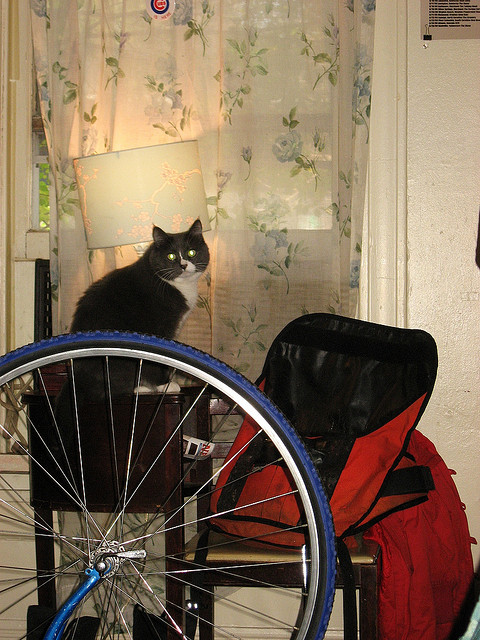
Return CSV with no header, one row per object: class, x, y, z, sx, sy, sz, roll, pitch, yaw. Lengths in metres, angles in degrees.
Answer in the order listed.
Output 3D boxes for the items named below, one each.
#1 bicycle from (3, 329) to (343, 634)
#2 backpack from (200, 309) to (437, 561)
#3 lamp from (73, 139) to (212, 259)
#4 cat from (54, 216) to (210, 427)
bicycle,-0.136,0.345,2.305,0.609,0.692,0.256,1,11,3
backpack,0.192,0.292,2.352,0.518,0.197,0.731,6,36,22
lamp,-0.239,-0.218,2.787,0.307,0.499,0.260,-6,1,3
cat,-0.280,-0.056,2.682,0.397,0.541,0.197,5,30,15
